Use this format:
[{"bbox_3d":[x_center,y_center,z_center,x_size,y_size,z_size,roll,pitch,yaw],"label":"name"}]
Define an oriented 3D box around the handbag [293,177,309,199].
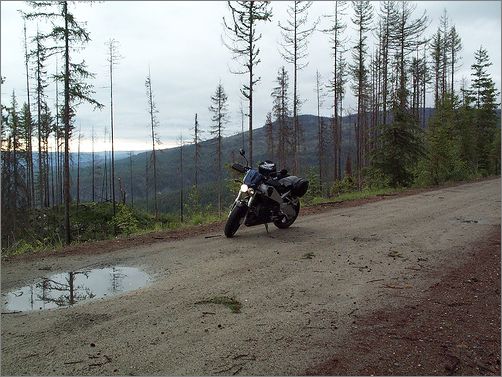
[{"bbox_3d":[2.240,0.021,24.353,0.562,0.808,0.700,21,-10,11],"label":"handbag"}]
